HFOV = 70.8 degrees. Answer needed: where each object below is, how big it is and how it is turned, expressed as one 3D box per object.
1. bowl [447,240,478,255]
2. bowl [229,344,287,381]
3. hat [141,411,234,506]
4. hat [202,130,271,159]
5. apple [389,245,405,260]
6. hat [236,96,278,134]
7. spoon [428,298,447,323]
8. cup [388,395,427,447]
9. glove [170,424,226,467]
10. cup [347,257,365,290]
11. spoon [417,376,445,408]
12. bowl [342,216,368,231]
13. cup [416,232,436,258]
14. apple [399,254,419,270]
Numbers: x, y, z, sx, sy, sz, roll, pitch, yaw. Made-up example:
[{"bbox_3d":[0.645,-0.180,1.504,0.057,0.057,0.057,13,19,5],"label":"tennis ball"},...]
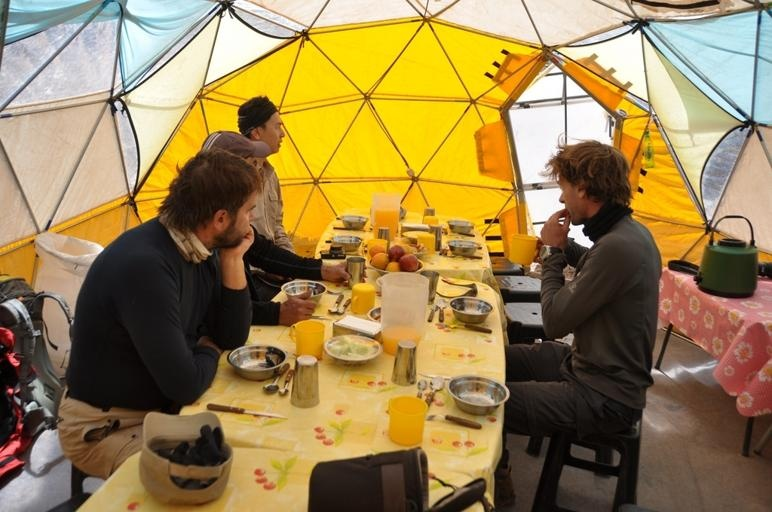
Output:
[{"bbox_3d":[1.007,-0.102,7.195,0.368,0.234,0.571,0,-3,6],"label":"bowl"},{"bbox_3d":[-1.014,0.852,4.361,0.330,0.090,0.307,4,21,-1],"label":"bowl"},{"bbox_3d":[-1.260,1.274,3.415,0.553,0.535,0.302,1,-3,-16],"label":"hat"},{"bbox_3d":[-1.697,-1.249,6.172,0.884,0.297,0.553,-4,20,-28],"label":"hat"},{"bbox_3d":[0.110,-0.025,6.069,0.138,0.129,0.174,0,3,1],"label":"apple"},{"bbox_3d":[-1.785,-1.912,7.459,0.526,0.555,0.175,0,-2,5],"label":"hat"},{"bbox_3d":[0.496,0.552,5.363,0.137,0.038,0.481,2,12,5],"label":"spoon"},{"bbox_3d":[0.149,1.127,3.801,0.347,0.239,0.272,5,15,14],"label":"cup"},{"bbox_3d":[-1.198,1.190,3.458,0.316,0.134,0.221,5,4,11],"label":"glove"},{"bbox_3d":[-0.314,0.183,5.769,0.320,0.360,0.272,1,5,1],"label":"cup"},{"bbox_3d":[0.337,1.038,4.173,0.108,0.044,0.314,8,18,-7],"label":"spoon"},{"bbox_3d":[-0.508,-0.482,8.046,0.287,0.097,0.284,0,11,0],"label":"bowl"},{"bbox_3d":[0.526,-0.136,7.026,0.274,0.244,0.263,1,7,0],"label":"cup"},{"bbox_3d":[0.254,0.090,5.947,0.215,0.179,0.211,1,-3,-2],"label":"apple"}]
